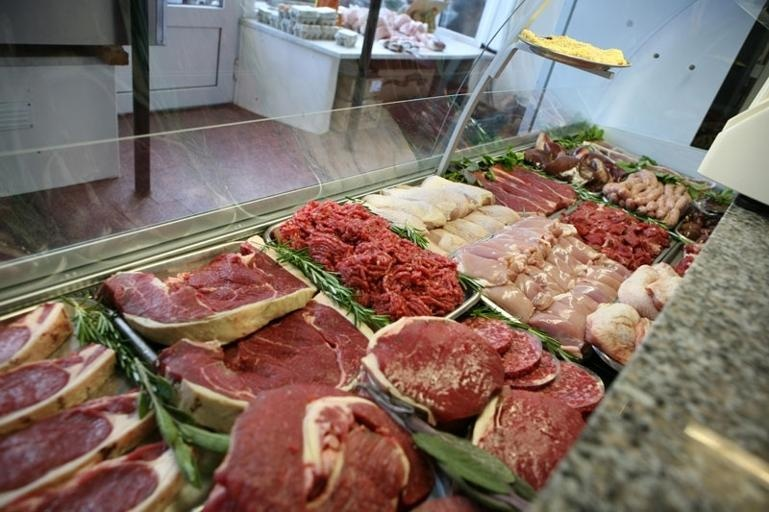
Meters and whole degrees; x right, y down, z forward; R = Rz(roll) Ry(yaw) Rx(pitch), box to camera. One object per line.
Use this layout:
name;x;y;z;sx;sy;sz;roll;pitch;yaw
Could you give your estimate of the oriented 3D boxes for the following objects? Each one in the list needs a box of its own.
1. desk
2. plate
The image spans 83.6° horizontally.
desk;-0.134;-1.086;2.611;0.477;0.459;1.664;34;39;23
plate;1.156;-1.266;2.658;0.864;0.056;0.529;-23;51;-41
